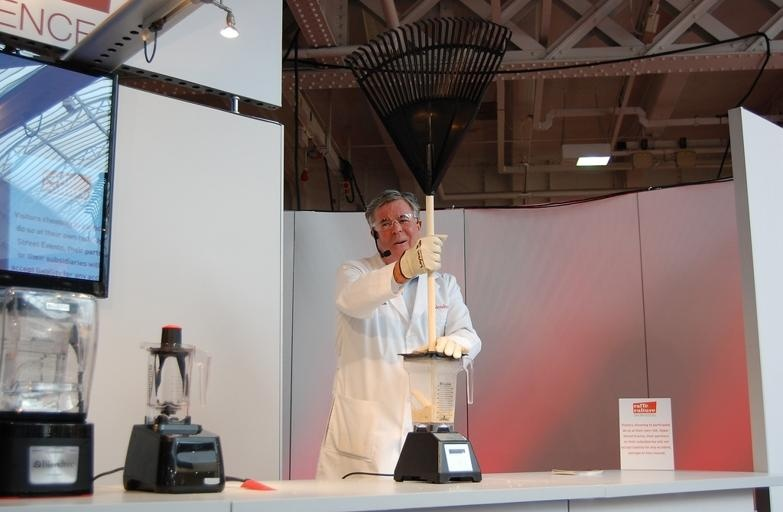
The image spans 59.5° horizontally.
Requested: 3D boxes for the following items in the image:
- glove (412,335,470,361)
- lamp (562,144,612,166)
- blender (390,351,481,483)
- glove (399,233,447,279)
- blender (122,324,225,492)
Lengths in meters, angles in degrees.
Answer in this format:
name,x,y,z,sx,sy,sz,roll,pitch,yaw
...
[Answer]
name,x,y,z,sx,sy,sz,roll,pitch,yaw
glove,0.185,0.330,2.449,0.112,0.047,0.155,8,9,1
lamp,1.944,-1.027,6.897,0.468,0.165,0.334,-3,-14,7
blender,0.148,0.548,2.278,0.235,0.387,0.178,-12,-17,41
glove,0.127,0.012,2.536,0.150,0.174,0.329,2,-14,-13
blender,-0.682,0.478,2.166,0.311,0.511,0.210,-12,-17,42
